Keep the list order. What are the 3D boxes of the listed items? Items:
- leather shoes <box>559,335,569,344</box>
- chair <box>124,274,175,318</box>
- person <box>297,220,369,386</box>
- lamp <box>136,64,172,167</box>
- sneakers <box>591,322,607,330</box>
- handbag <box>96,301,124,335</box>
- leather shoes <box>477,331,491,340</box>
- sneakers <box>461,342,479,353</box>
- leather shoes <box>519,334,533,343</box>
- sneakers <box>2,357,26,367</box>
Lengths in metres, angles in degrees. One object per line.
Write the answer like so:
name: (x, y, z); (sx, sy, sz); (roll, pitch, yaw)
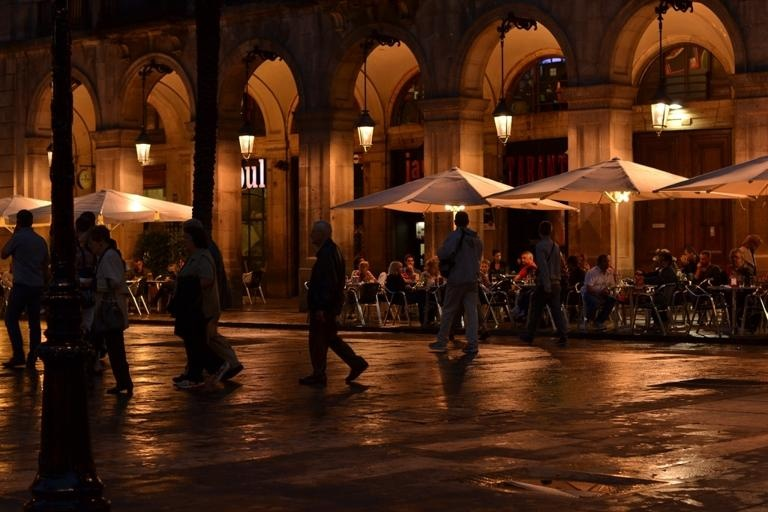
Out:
leather shoes: (3.157, 1.504, 18.633); (0.147, 0.159, 0.440); (-2, -5, 9)
chair: (-5.747, 0.962, 25.721); (0.927, 0.990, 1.432); (-1, -1, 15)
person: (-0.685, 0.624, 14.006); (1.086, 2.139, 0.970); (2, 0, 3)
lamp: (-6.906, -4.206, 30.868); (0.854, 2.909, 1.743); (0, -5, -14)
sneakers: (4.310, 1.411, 21.096); (0.312, 0.203, 0.129); (-2, 3, 10)
handbag: (-3.515, 0.787, 13.335); (0.415, 0.443, 0.262); (2, -7, -40)
leather shoes: (1.851, 1.485, 19.607); (0.185, 0.096, 0.256); (27, -8, -24)
sneakers: (1.409, 1.521, 17.164); (0.244, 0.148, 0.310); (-1, -5, 2)
leather shoes: (2.558, 1.492, 18.894); (0.215, 0.176, 0.401); (-1, -5, 7)
sneakers: (-5.563, 1.599, 15.842); (0.431, 0.173, 0.151); (0, 0, 1)
